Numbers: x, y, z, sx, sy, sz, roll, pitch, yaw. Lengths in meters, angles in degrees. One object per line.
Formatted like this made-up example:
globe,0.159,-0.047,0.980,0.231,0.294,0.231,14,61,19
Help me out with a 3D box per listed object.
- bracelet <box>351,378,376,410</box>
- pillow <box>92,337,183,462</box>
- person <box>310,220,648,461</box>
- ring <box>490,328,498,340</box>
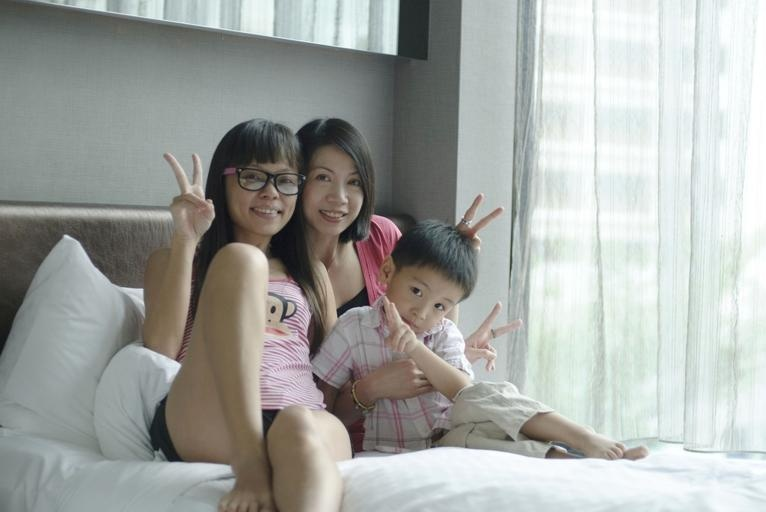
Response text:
bracelet,-0.052,0.451,2.176,0.023,0.088,0.085,-20,22,-21
pillow,-0.745,0.442,2.036,0.305,0.305,0.095,27,1,11
person,0.300,0.323,2.148,1.002,0.746,0.486,4,1,29
ring,0.426,0.297,2.488,0.014,0.037,0.036,7,-15,-29
